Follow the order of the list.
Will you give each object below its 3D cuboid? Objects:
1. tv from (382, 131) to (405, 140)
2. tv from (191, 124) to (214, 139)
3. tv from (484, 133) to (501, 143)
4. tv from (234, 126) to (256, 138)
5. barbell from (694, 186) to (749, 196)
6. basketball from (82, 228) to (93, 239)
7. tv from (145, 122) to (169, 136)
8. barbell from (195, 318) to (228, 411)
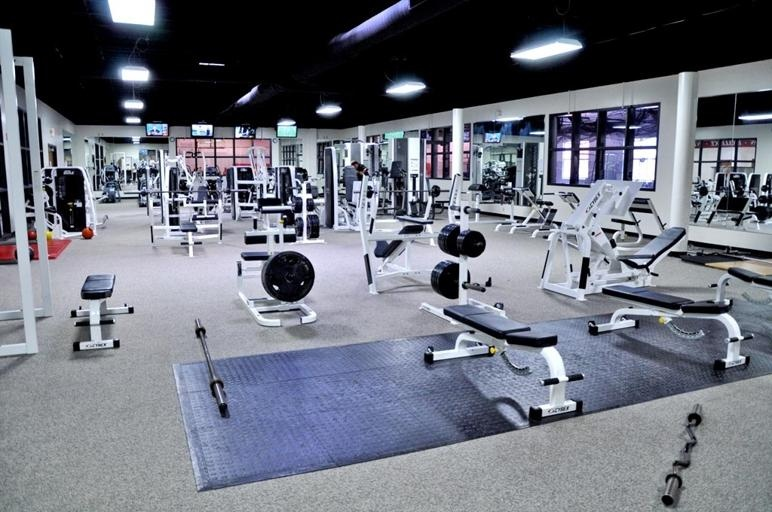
[{"bbox_3d":[0.260,-3.849,15.710,0.391,0.221,1.045,-10,13,-44],"label":"tv"},{"bbox_3d":[-5.931,-4.059,15.740,0.809,0.490,0.389,-2,6,-23],"label":"tv"},{"bbox_3d":[2.720,-3.026,12.476,0.329,0.170,0.032,0,3,-8],"label":"tv"},{"bbox_3d":[-4.828,-4.422,16.802,0.717,0.432,0.371,0,0,-13],"label":"tv"},{"bbox_3d":[5.325,-1.021,7.753,0.661,0.171,0.114,6,12,34],"label":"barbell"},{"bbox_3d":[-5.126,-0.379,8.363,0.123,0.136,0.116,23,53,12],"label":"basketball"},{"bbox_3d":[-7.552,-4.185,16.098,0.692,0.436,0.087,0,1,-16],"label":"tv"},{"bbox_3d":[-1.239,0.757,3.449,0.098,0.190,1.384,-6,11,-25],"label":"barbell"}]
